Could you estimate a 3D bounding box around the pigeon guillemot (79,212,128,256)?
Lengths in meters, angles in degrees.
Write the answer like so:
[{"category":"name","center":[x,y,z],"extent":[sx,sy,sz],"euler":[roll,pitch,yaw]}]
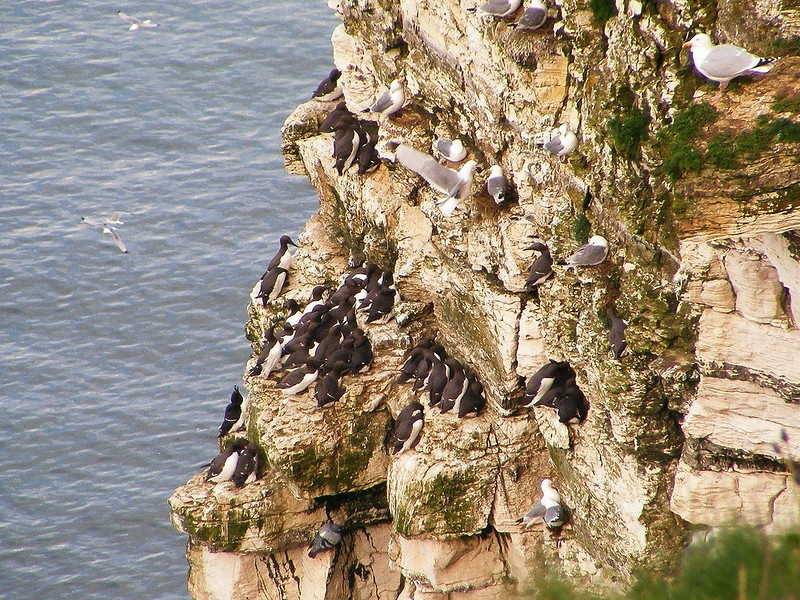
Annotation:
[{"category":"pigeon guillemot","center":[-8.856,-1.881,54.193],"extent":[0.595,0.226,1.794],"euler":[-47,48,-12]}]
